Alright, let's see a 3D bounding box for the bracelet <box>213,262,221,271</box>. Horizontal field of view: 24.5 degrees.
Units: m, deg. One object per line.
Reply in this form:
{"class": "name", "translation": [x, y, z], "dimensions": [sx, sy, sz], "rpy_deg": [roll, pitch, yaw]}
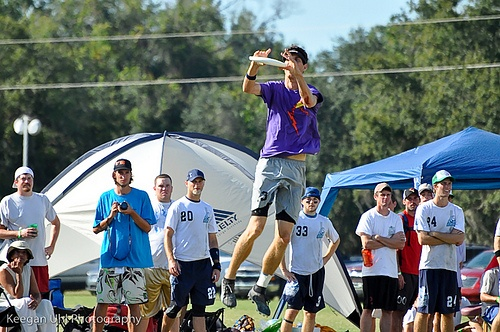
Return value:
{"class": "bracelet", "translation": [-1.088, 3.388, 39.006], "dimensions": [0.211, 0.273, 0.226], "rpy_deg": [3, 20, 16]}

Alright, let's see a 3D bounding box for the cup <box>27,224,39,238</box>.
{"class": "cup", "translation": [-7.382, 2.125, 39.164], "dimensions": [0.231, 0.431, 0.394], "rpy_deg": [2, -3, -38]}

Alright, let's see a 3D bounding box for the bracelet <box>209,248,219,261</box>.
{"class": "bracelet", "translation": [-1.171, 2.990, 39.100], "dimensions": [0.313, 0.391, 0.355], "rpy_deg": [2, -13, 26]}

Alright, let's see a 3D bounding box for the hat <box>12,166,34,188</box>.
{"class": "hat", "translation": [-7.852, 0.317, 39.786], "dimensions": [0.719, 0.838, 0.810], "rpy_deg": [1, -7, -15]}

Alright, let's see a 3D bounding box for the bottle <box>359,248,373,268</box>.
{"class": "bottle", "translation": [4.111, 3.189, 39.802], "dimensions": [0.352, 0.638, 0.246], "rpy_deg": [-1, -5, 7]}

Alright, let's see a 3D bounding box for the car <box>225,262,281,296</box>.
{"class": "car", "translation": [0.187, 4.696, 47.608], "dimensions": [1.875, 1.013, 1.575], "rpy_deg": [7, -7, 14]}

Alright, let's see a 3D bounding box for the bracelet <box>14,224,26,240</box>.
{"class": "bracelet", "translation": [-7.777, 2.258, 39.224], "dimensions": [0.417, 0.460, 0.105], "rpy_deg": [2, -12, 9]}

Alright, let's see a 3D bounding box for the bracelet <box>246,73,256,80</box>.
{"class": "bracelet", "translation": [0.063, -2.906, 37.445], "dimensions": [0.317, 0.221, 0.314], "rpy_deg": [0, -5, -4]}
